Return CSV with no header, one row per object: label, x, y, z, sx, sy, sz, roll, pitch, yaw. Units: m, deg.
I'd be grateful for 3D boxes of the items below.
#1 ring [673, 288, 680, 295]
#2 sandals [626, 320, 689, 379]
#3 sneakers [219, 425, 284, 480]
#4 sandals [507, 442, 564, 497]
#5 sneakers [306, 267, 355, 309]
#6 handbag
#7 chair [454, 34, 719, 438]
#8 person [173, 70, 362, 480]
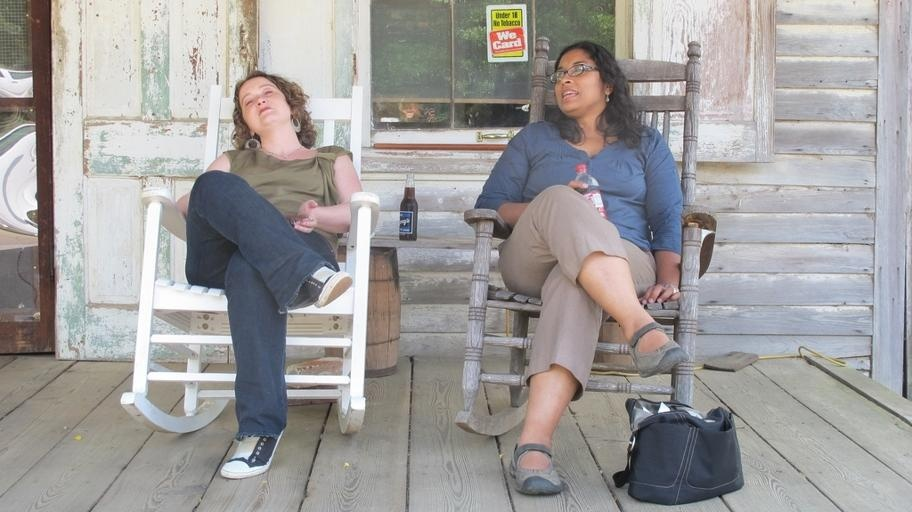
ring,1.057,0.173,3.752,0.029,0.013,0.037,-2,8,6
sandals,0.884,0.422,3.535,0.176,0.137,0.297,-28,11,-6
sneakers,-0.940,0.919,3.648,0.137,0.109,0.314,4,10,19
sandals,0.359,0.965,3.554,0.167,0.115,0.288,0,1,-3
sneakers,-0.569,0.143,3.550,0.124,0.119,0.249,33,-17,-13
handbag,1.007,0.852,3.632,0.597,0.405,0.436,-2,-4,-10
chair,0.661,-0.162,4.095,1.270,1.938,1.365,0,14,7
person,-0.896,0.006,3.924,0.896,1.817,1.126,-4,14,-8
